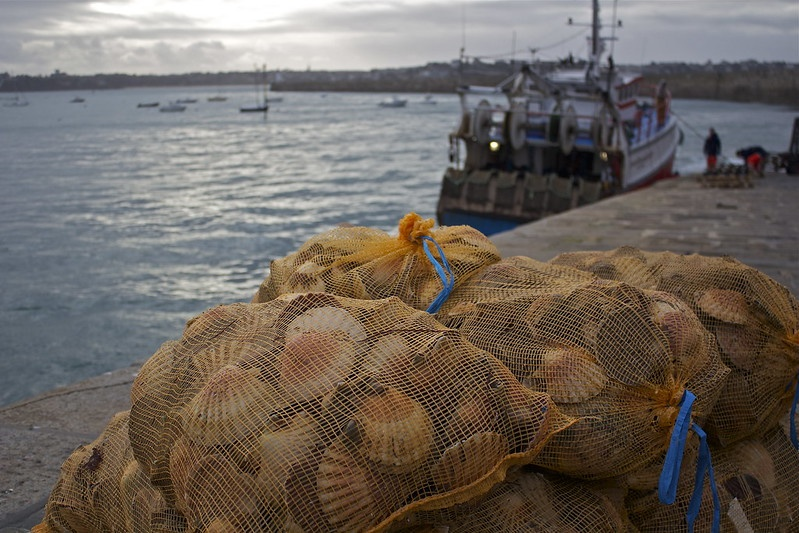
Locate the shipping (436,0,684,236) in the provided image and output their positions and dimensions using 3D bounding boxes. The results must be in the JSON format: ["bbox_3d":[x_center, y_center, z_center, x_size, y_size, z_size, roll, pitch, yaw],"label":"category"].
[{"bbox_3d":[3.631,-3.157,15.908,5.618,4.392,3.554,-13,20,-36],"label":"shipping"}]

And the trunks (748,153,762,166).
[{"bbox_3d":[7.394,-2.186,15.427,0.097,0.285,0.203,12,-4,-23],"label":"trunks"}]

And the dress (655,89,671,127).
[{"bbox_3d":[6.660,-4.132,18.706,0.322,1.410,0.376,-8,-31,31],"label":"dress"}]
